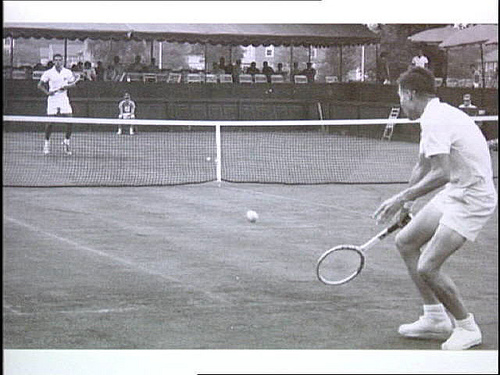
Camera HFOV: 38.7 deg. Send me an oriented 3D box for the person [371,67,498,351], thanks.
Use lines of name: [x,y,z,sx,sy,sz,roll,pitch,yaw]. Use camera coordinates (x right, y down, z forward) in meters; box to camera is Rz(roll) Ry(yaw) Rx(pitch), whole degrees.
person: [1.479,0.164,5.593,0.842,2.159,0.500,3,9,17]

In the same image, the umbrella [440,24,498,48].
umbrella: [6.906,-4.695,22.139,1.098,0.604,1.889,-4,10,-29]

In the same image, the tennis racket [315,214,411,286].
tennis racket: [1.189,0.621,7.207,1.215,0.397,0.068,-32,0,-5]

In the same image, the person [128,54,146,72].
person: [-3.863,-4.193,24.275,0.561,0.888,0.276,1,20,-6]

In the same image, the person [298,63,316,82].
person: [2.080,-4.162,25.730,0.566,1.064,0.587,1,-3,-5]

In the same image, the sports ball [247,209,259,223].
sports ball: [0.021,0.383,9.556,0.131,0.166,0.142,-20,1,0]
